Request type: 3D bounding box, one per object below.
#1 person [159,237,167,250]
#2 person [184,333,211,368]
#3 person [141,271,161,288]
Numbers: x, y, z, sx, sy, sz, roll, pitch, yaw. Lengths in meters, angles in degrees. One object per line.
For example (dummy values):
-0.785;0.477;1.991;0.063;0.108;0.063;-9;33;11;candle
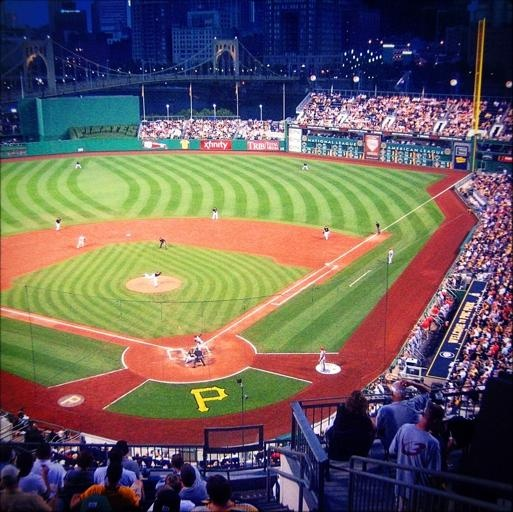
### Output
-5.512;-0.850;35.823;0.255;0.451;0.771;-31;-2;-15;person
-2.067;3.261;21.539;0.942;0.847;1.762;2;6;-6;person
-5.045;0.991;29.169;0.762;0.206;0.767;3;32;-1;person
